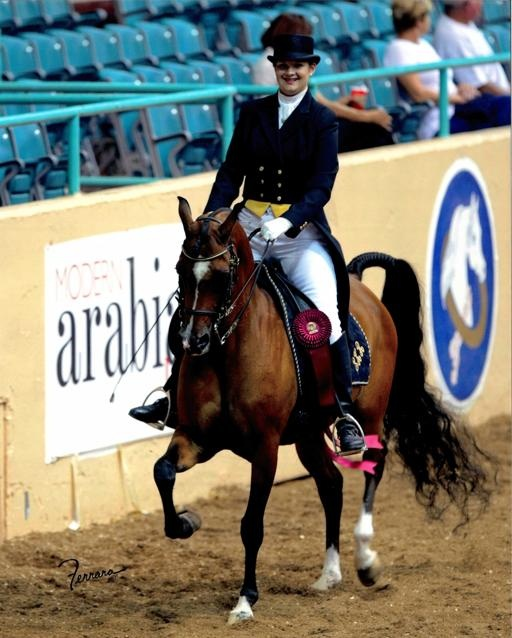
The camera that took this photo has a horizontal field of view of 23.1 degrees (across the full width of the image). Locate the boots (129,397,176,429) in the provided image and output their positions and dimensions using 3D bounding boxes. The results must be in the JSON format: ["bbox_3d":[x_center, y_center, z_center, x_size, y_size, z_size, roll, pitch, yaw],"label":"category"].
[{"bbox_3d":[-0.445,0.486,6.201,0.323,0.125,0.117,10,12,-35],"label":"boots"}]

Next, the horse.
[{"bbox_3d":[0.382,0.466,6.722,0.745,2.130,3.203,0,1,33],"label":"horse"}]

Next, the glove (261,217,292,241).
[{"bbox_3d":[0.087,-0.412,5.678,0.078,0.103,0.188,6,9,32],"label":"glove"}]

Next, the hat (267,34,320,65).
[{"bbox_3d":[0.173,-1.286,5.913,0.239,0.131,0.174,2,8,6],"label":"hat"}]
